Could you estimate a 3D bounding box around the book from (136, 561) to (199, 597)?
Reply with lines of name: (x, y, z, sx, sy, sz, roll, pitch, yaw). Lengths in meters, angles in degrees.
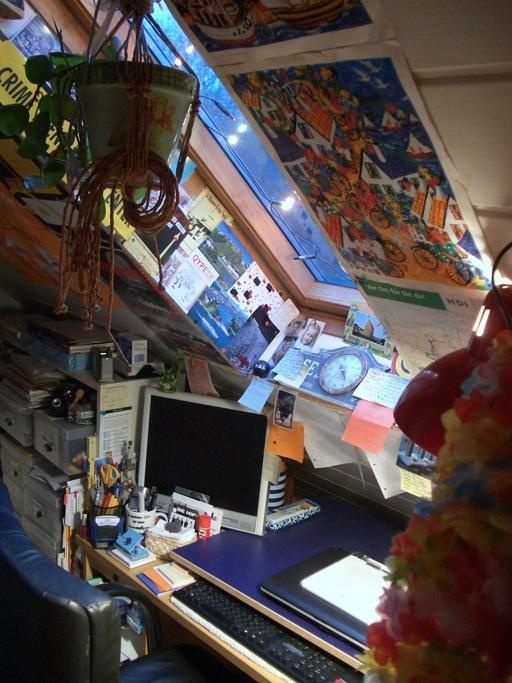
book: (-0.271, 0.684, 1.493, 0.182, 0.025, 0.167, 11, 9, 41)

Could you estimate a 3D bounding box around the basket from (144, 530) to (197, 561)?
basket: (-0.275, 0.642, 1.611, 0.110, 0.039, 0.110, 0, 3, -43)

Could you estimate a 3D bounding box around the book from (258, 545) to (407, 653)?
book: (0.224, 0.633, 1.270, 0.300, 0.057, 0.301, -1, 6, 44)

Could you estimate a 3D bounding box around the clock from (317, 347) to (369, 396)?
clock: (0.261, 0.101, 1.456, 0.032, 0.135, 0.137, 28, 12, -38)

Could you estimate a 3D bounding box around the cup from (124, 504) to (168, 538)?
cup: (-0.381, 0.621, 1.710, 0.131, 0.086, 0.080, 10, -6, -10)

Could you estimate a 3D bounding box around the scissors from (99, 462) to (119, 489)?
scissors: (-0.526, 0.479, 1.764, 0.061, 0.078, 0.037, 8, 2, -35)
